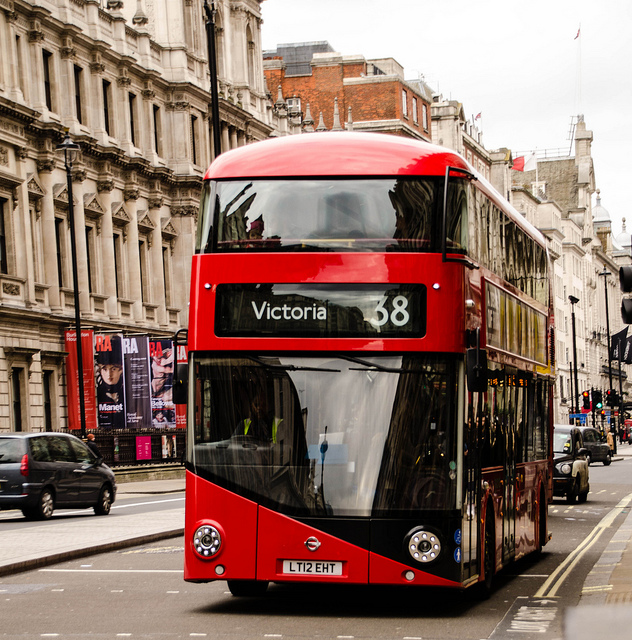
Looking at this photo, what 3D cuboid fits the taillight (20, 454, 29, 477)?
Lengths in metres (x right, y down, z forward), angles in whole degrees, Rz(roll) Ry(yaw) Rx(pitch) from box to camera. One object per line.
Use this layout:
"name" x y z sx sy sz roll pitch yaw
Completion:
"taillight" -6.035 3.019 22.470 0.175 0.451 0.094 0 -4 -18

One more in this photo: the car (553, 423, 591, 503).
"car" 6.574 3.695 28.076 0.935 1.226 1.863 -2 -8 15

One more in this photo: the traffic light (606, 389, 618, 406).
"traffic light" 19.826 5.270 73.318 0.677 1.197 4.809 -2 -6 15

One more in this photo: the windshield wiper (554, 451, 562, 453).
"windshield wiper" 6.122 3.371 27.646 0.195 0.036 0.068 -1 -6 -3

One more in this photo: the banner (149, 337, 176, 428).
"banner" -6.301 2.677 43.798 0.959 3.742 0.120 0 -5 -30

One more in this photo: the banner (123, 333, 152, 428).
"banner" -7.063 2.420 42.860 1.050 3.666 0.705 0 -4 -14

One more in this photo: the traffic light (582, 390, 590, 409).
"traffic light" 16.959 5.073 68.613 0.398 1.087 3.019 -2 -6 15
